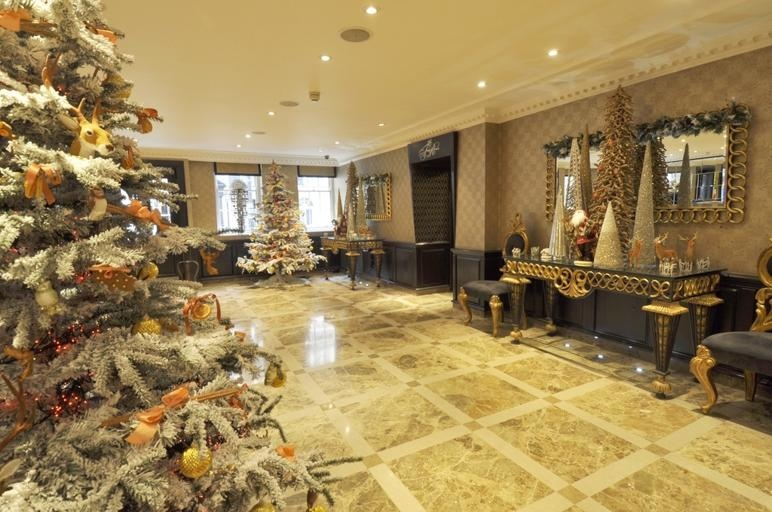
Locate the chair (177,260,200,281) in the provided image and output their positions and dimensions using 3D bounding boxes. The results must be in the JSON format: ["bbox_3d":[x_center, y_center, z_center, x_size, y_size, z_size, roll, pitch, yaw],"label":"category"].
[{"bbox_3d":[-3.451,0.236,7.782,0.451,0.410,0.254,0,1,-13],"label":"chair"}]

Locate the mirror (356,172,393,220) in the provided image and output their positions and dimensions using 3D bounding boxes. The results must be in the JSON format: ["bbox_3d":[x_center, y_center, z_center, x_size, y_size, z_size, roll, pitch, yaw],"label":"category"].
[{"bbox_3d":[-0.215,-1.276,9.449,0.064,0.762,1.103,-5,8,-25],"label":"mirror"}]

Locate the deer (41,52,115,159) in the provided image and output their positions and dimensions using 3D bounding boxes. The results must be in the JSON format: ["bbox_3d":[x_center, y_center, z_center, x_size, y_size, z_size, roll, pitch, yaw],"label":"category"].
[{"bbox_3d":[-1.309,-0.616,1.965,0.300,0.455,0.229,27,22,11],"label":"deer"}]

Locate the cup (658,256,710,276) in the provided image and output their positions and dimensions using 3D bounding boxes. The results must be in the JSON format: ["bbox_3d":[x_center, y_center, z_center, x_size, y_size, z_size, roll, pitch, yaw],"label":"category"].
[{"bbox_3d":[2.719,0.092,4.088,0.451,0.118,0.105,-9,9,-19],"label":"cup"}]

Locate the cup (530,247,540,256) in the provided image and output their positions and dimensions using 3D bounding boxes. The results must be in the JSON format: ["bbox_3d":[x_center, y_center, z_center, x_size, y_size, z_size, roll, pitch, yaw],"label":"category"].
[{"bbox_3d":[1.762,-0.054,5.275,0.154,0.123,0.142,1,5,0],"label":"cup"}]
